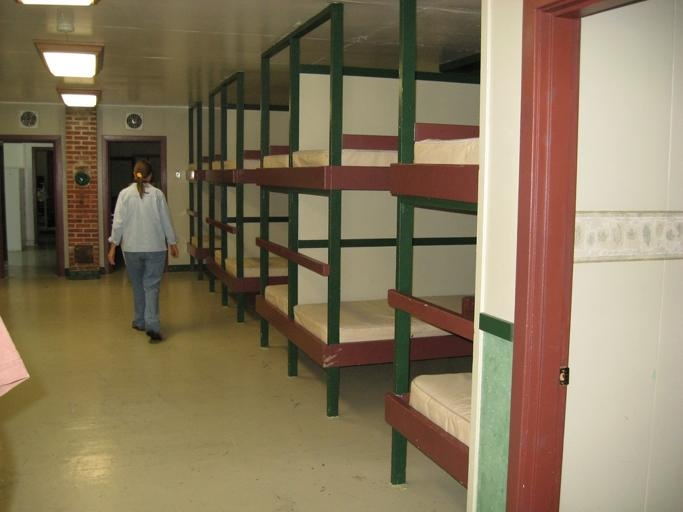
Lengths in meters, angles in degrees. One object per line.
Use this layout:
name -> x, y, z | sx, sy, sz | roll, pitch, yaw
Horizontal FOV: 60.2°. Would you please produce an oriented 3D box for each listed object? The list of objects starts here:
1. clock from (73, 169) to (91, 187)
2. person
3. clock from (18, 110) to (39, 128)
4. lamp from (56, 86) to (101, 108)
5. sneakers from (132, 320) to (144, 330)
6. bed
clock -> -4.371, -1.319, 9.915 | 0.261, 0.310, 0.175 | -3, 10, -19
person -> -2.066, -0.044, 6.227 | 0.630, 1.879, 0.428 | 4, 9, 17
clock -> -5.241, -2.285, 9.856 | 0.283, 0.272, 0.051 | 1, 9, 3
lamp -> -3.493, -2.118, 7.824 | 0.515, 0.136, 0.505 | -1, 3, 18
sneakers -> -2.281, 0.771, 6.611 | 0.073, 0.099, 0.220 | 1, 3, -27
bed -> -0.038, -0.128, 4.843 | 0.891, 1.779, 3.398 | 1, 6, -15
